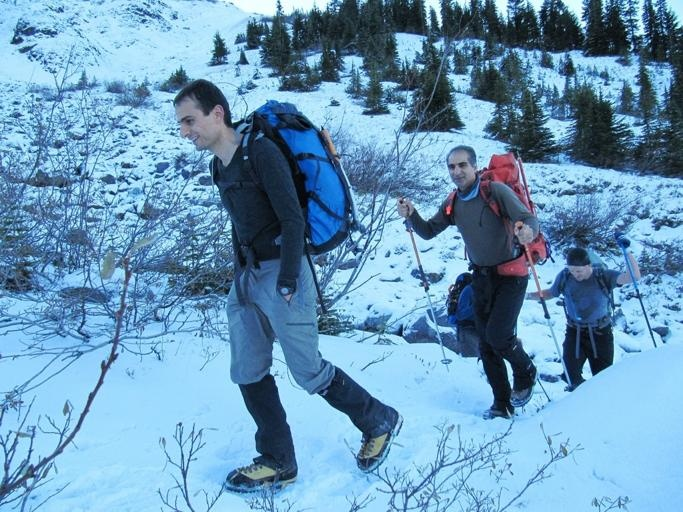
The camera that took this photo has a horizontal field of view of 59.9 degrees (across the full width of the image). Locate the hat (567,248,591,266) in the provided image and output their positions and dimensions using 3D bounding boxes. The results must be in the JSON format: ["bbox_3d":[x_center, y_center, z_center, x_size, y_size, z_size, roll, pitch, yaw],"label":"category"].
[{"bbox_3d":[3.109,0.005,7.758,0.230,0.212,0.245,-1,4,30],"label":"hat"}]

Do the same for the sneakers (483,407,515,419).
[{"bbox_3d":[1.735,1.741,6.570,0.374,0.176,0.131,5,-17,-2],"label":"sneakers"}]

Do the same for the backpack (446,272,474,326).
[{"bbox_3d":[1.532,0.562,7.529,0.566,0.618,0.422,-5,-5,6],"label":"backpack"}]

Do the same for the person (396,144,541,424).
[{"bbox_3d":[1.605,0.237,6.836,1.286,3.011,0.810,0,9,28],"label":"person"}]
